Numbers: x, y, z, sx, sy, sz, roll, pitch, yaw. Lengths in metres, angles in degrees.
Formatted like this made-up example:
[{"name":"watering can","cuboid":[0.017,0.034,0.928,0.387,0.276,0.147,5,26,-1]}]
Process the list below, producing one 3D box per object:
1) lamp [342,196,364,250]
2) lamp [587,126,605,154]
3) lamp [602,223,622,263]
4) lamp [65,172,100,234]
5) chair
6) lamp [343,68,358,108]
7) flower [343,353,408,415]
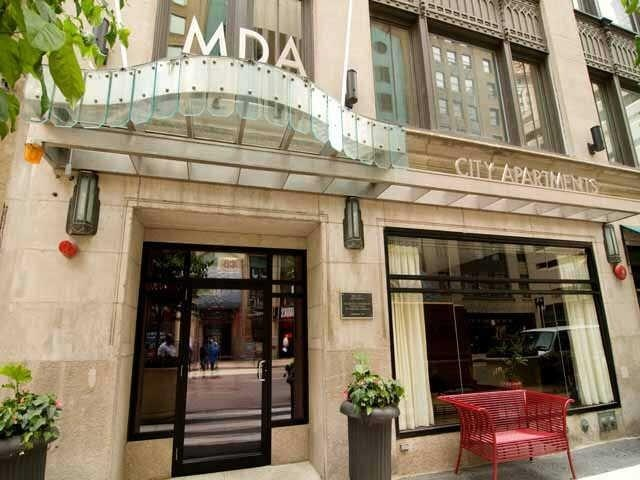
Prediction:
[{"name":"lamp","cuboid":[0.613,-0.313,8.506,0.403,0.942,0.282,0,-15,-4]},{"name":"lamp","cuboid":[6.650,-2.417,11.151,0.219,0.674,0.298,12,-19,-39]},{"name":"lamp","cuboid":[6.651,0.086,10.533,0.308,0.911,0.160,6,-16,-24]},{"name":"lamp","cuboid":[-3.724,-0.591,7.289,0.435,1.003,0.233,7,-17,-27]},{"name":"chair","cuboid":[3.361,3.371,8.032,1.857,1.387,1.015,3,-15,-14]},{"name":"lamp","cuboid":[0.597,-2.990,9.141,0.270,0.758,0.288,-2,-15,3]},{"name":"flower","cuboid":[0.770,2.322,7.620,1.013,0.824,1.037,3,-2,-6]}]
